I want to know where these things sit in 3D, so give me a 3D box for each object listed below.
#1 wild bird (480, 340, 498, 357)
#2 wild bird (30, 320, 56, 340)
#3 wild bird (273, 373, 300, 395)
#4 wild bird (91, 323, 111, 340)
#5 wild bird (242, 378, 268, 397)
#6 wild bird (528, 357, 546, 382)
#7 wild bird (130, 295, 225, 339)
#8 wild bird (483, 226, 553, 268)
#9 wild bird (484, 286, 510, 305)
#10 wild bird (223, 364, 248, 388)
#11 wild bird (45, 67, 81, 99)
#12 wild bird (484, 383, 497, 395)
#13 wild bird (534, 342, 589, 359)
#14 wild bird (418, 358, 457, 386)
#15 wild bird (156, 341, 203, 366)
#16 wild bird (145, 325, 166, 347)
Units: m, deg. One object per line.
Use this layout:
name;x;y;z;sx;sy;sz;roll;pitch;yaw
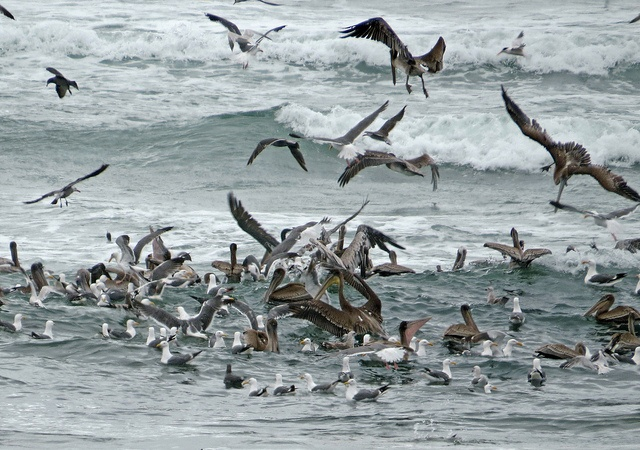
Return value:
wild bird;5.901;4.300;43.626;0.467;0.494;0.462;4;26;9
wild bird;-9.603;3.605;43.254;0.764;0.573;0.811;-3;26;-6
wild bird;-1.176;5.300;41.792;0.752;0.620;0.606;-1;26;-1
wild bird;-7.628;3.690;43.684;0.630;0.336;0.411;14;1;-12
wild bird;-2.183;5.405;41.724;0.639;0.455;0.950;-22;32;-37
wild bird;7.411;4.926;42.479;0.597;0.613;0.860;4;26;8
wild bird;-4.767;3.305;44.283;3.081;1.244;0.970;-2;26;-4
wild bird;7.965;0.909;49.784;2.390;1.373;0.973;4;27;8
wild bird;6.595;2.756;46.958;1.048;0.718;0.424;9;-17;-30
wild bird;-2.913;5.210;41.996;0.391;0.600;0.957;12;1;-41
wild bird;-11.178;-6.102;54.010;1.248;2.004;0.701;-14;69;-32
wild bird;5.745;5.461;41.981;0.575;0.217;0.325;-18;31;-34
wild bird;8.403;4.436;43.494;2.141;0.820;0.543;3;57;2
wild bird;3.998;5.055;42.669;1.214;0.761;0.572;4;-7;-17
wild bird;-4.822;4.337;42.875;1.483;0.676;0.874;1;26;3
wild bird;-5.716;3.842;43.785;0.732;0.692;1.350;-4;25;-6
